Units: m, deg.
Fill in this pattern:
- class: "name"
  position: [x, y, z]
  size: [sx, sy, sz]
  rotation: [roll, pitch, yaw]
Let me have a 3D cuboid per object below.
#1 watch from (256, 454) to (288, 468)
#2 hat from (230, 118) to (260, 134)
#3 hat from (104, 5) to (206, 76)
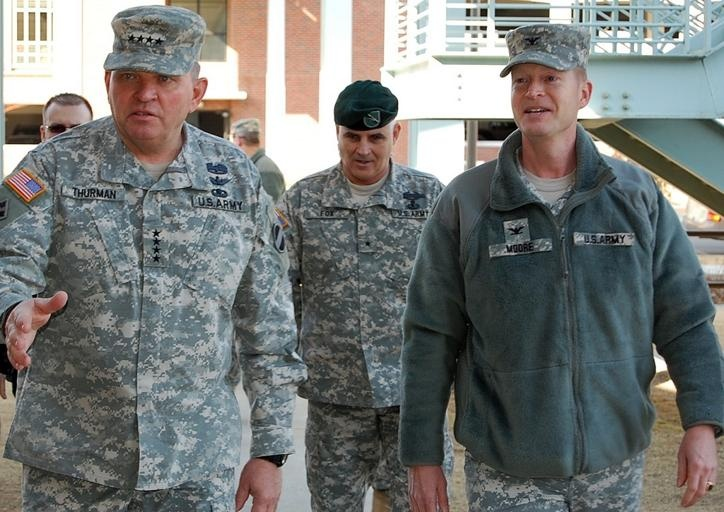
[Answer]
- class: "watch"
  position: [-0.352, 0.803, 3.456]
  size: [0.089, 0.032, 0.064]
  rotation: [-4, -11, 16]
- class: "hat"
  position: [-1.217, -1.324, 9.013]
  size: [0.281, 0.121, 0.357]
  rotation: [-2, 4, -15]
- class: "hat"
  position: [-0.807, -0.831, 3.376]
  size: [0.300, 0.174, 0.360]
  rotation: [4, 11, 4]
